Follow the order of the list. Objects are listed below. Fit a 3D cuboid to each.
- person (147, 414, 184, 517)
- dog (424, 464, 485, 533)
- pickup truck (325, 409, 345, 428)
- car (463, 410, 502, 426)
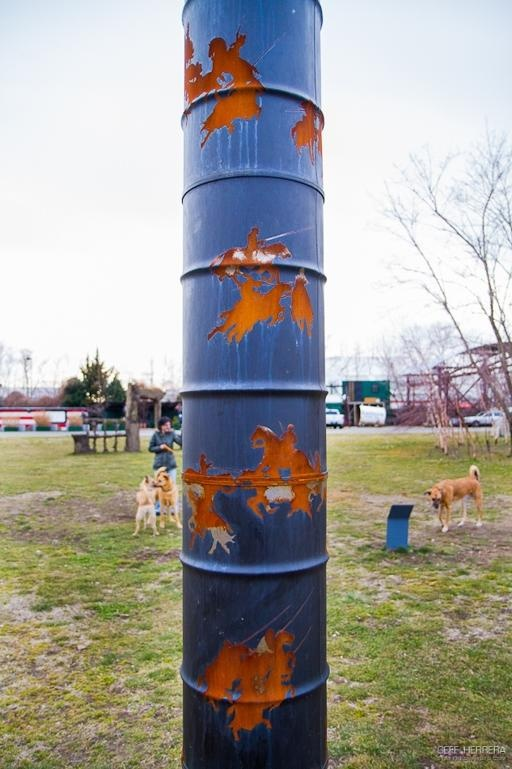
[{"bbox_3d":[-1.155,1.044,11.739,0.428,1.343,0.316,4,27,4],"label":"person"},{"bbox_3d":[2.675,1.461,11.969,0.651,0.774,2.469,-1,-2,14],"label":"dog"},{"bbox_3d":[3.952,1.780,45.139,0.814,0.988,1.825,0,-2,2],"label":"pickup truck"},{"bbox_3d":[11.705,1.896,46.456,1.485,0.816,4.216,-1,-2,12],"label":"car"}]
